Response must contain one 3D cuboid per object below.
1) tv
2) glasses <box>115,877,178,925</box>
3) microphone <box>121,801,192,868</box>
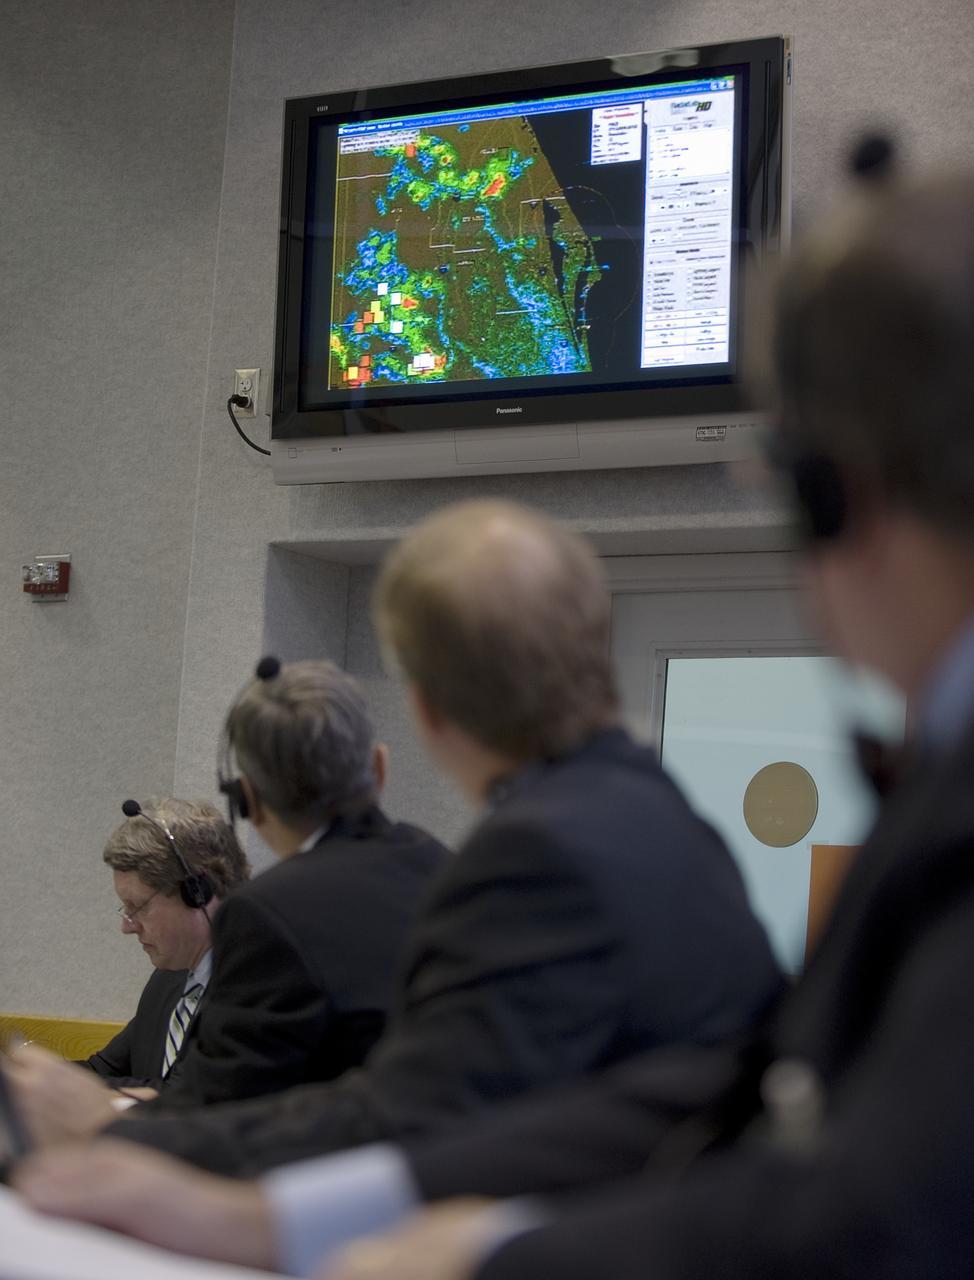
[{"bbox_3d":[0.087,-0.691,2.213,1.293,0.849,0.122,-1,-11,22],"label":"tv"},{"bbox_3d":[-0.576,0.426,2.038,0.086,0.108,0.109,1,-12,-35],"label":"glasses"},{"bbox_3d":[-0.563,0.331,1.961,0.054,0.136,0.095,-41,-8,5],"label":"microphone"}]
